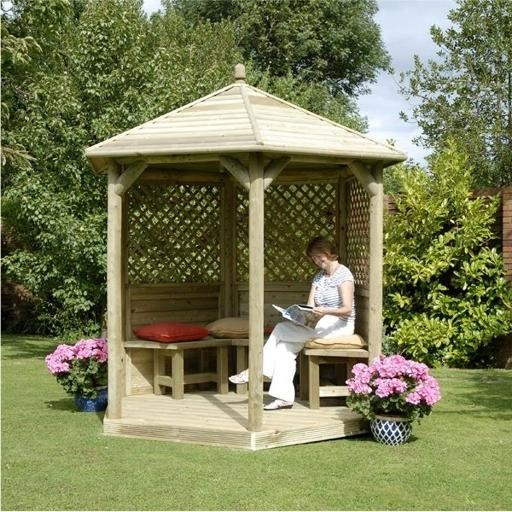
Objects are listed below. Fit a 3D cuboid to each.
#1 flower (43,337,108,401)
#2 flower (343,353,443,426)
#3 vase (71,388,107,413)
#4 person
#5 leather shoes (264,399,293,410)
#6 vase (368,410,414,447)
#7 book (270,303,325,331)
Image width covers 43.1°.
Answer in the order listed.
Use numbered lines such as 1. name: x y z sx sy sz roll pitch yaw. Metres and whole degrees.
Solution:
1. flower: -1.995 1.292 7.406 0.693 0.605 0.687 -17 3 -11
2. flower: 1.295 1.247 6.127 0.826 0.520 0.798 -8 4 5
3. vase: -1.854 1.612 7.307 0.336 0.190 0.306 1 -8 -9
4. person: 0.551 0.687 6.822 1.107 1.786 0.806 0 1 -39
5. leather shoes: 0.246 1.521 6.636 0.347 0.116 0.109 2 -4 -14
6. vase: 1.253 1.584 5.955 0.341 0.195 0.307 0 -8 2
7. book: 0.419 0.581 6.568 0.436 0.167 0.304 6 -16 36
